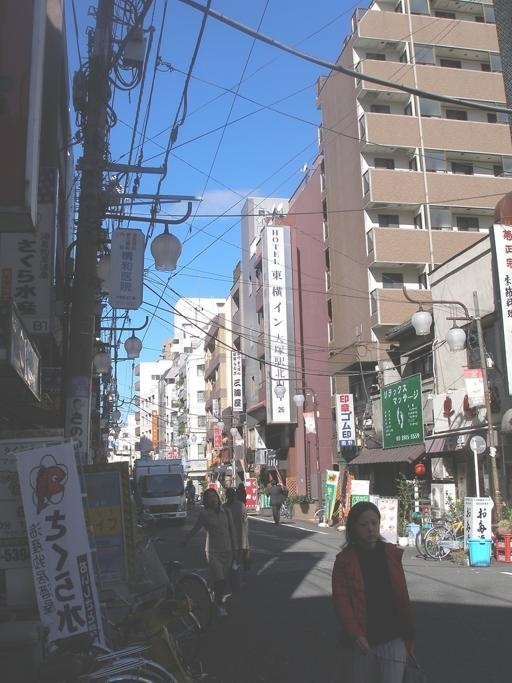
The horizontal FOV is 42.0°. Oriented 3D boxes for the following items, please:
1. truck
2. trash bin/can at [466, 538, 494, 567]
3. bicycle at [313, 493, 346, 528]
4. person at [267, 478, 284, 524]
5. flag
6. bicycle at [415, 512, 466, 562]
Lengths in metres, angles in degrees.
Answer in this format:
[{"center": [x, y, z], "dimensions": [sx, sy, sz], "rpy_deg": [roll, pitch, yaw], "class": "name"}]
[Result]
[{"center": [-4.359, 6.703, 30.471], "dimensions": [2.095, 3.182, 4.986], "rpy_deg": [0, -15, -7], "class": "truck"}, {"center": [4.929, 4.605, 14.710], "dimensions": [0.517, 0.619, 0.492], "rpy_deg": [1, -15, 6], "class": "trash bin/can"}, {"center": [3.261, 7.171, 27.403], "dimensions": [1.177, 1.879, 0.557], "rpy_deg": [-4, -13, 32], "class": "bicycle"}, {"center": [0.879, 6.510, 27.722], "dimensions": [0.515, 1.834, 0.505], "rpy_deg": [-3, 17, 0], "class": "person"}, {"center": [-1.646, 1.698, 5.545], "dimensions": [0.497, 0.132, 2.163], "rpy_deg": [-3, 34, -23], "class": "flag"}, {"center": [4.551, 4.868, 16.379], "dimensions": [1.225, 0.937, 0.681], "rpy_deg": [2, -9, -4], "class": "bicycle"}]
